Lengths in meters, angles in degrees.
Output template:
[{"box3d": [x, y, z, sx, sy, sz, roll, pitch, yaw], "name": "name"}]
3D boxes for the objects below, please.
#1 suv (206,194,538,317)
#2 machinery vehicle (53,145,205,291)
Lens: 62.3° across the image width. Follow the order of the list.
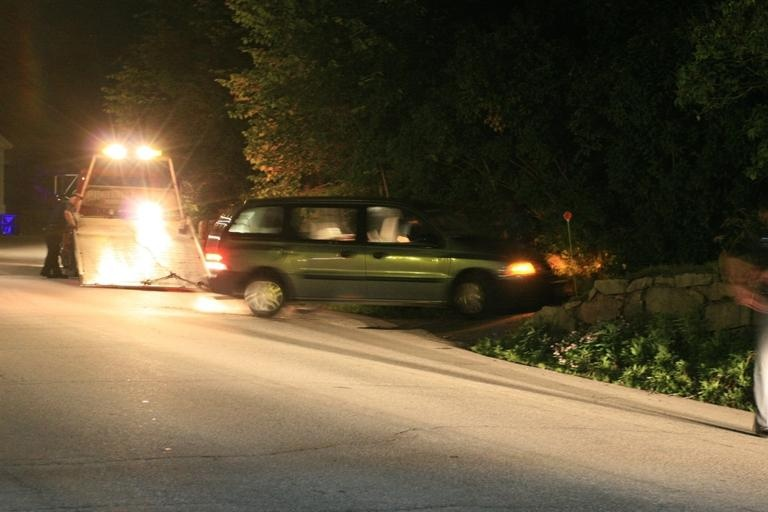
[{"box3d": [-0.083, 0.020, 13.234, 6.176, 1.738, 2.658, 0, 2, 7], "name": "suv"}, {"box3d": [-6.576, -0.995, 16.928, 3.218, 1.968, 6.392, -1, 22, -14], "name": "machinery vehicle"}]
